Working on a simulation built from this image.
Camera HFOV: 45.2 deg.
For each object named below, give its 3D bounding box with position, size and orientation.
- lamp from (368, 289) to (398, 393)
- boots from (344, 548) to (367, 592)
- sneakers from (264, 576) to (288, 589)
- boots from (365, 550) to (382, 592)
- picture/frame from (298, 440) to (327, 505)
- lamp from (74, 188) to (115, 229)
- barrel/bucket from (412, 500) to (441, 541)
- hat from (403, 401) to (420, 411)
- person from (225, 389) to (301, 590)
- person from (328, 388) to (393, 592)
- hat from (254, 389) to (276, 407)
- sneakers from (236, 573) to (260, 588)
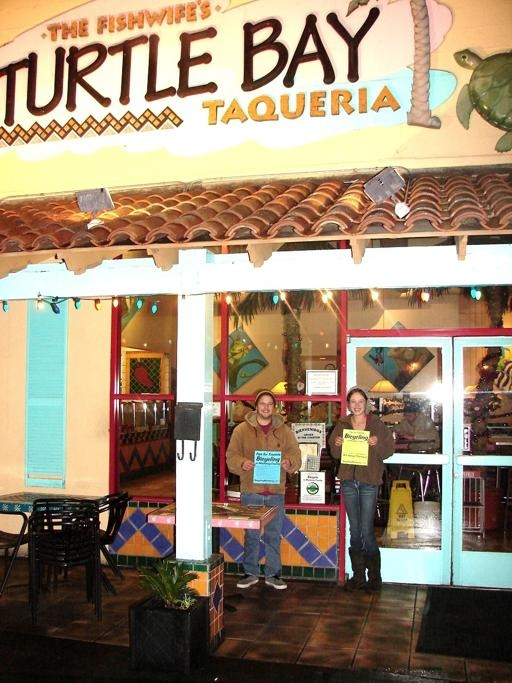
[{"bbox_3d":[1.381,-0.024,6.530,0.362,1.077,0.135,-2,-7,10],"label":"lamp"},{"bbox_3d":[1.003,2.260,6.174,0.209,0.378,0.105,-1,-7,6],"label":"boots"},{"bbox_3d":[0.206,2.427,6.269,0.093,0.090,0.231,11,-16,-39],"label":"sneakers"},{"bbox_3d":[1.212,2.264,6.179,0.240,0.375,0.122,4,-9,-34],"label":"boots"},{"bbox_3d":[0.611,1.422,6.699,0.297,0.632,0.166,-2,-7,7],"label":"picture/frame"},{"bbox_3d":[-1.238,-0.985,4.658,0.196,0.334,0.298,5,-9,-39],"label":"lamp"},{"bbox_3d":[1.790,1.830,6.363,0.348,0.377,0.340,0,-12,0],"label":"barrel/bucket"},{"bbox_3d":[1.656,0.660,6.446,0.093,0.110,0.109,1,-6,2],"label":"hat"},{"bbox_3d":[0.065,1.489,6.285,0.756,1.976,0.664,-3,-7,17],"label":"person"},{"bbox_3d":[1.087,1.441,6.190,0.608,1.961,0.532,1,-7,-13],"label":"person"},{"bbox_3d":[0.084,0.568,6.371,0.141,0.164,0.190,4,-2,6],"label":"hat"},{"bbox_3d":[-0.098,2.439,6.324,0.089,0.092,0.236,-10,-19,35],"label":"sneakers"}]
